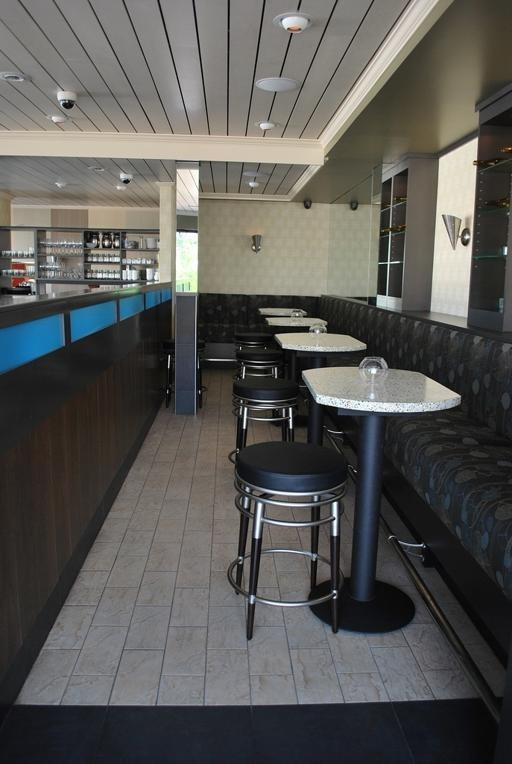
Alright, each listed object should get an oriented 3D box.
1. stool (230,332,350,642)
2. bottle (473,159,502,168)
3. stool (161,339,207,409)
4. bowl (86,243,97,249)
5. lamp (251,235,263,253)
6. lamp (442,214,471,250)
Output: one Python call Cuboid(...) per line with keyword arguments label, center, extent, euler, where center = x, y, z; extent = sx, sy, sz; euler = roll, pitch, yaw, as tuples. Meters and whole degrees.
Cuboid(label="stool", center=(0.106, 0.492, 1.729), extent=(0.488, 0.866, 0.549), euler=(1, 14, -3))
Cuboid(label="bottle", center=(1.380, -1.302, 2.909), extent=(0.104, 0.051, 0.138), euler=(-36, 36, -28))
Cuboid(label="stool", center=(-0.863, -0.127, 5.439), extent=(0.571, 1.057, 0.639), euler=(0, 7, -2))
Cuboid(label="bowl", center=(-3.088, -2.573, 9.221), extent=(0.109, 0.097, 0.147), euler=(-9, 18, -30))
Cuboid(label="lamp", center=(0.010, -2.234, 7.898), extent=(0.174, 0.279, 0.155), euler=(1, 3, -3))
Cuboid(label="lamp", center=(1.660, -1.265, 4.111), extent=(0.178, 0.291, 0.324), euler=(1, 3, 4))
